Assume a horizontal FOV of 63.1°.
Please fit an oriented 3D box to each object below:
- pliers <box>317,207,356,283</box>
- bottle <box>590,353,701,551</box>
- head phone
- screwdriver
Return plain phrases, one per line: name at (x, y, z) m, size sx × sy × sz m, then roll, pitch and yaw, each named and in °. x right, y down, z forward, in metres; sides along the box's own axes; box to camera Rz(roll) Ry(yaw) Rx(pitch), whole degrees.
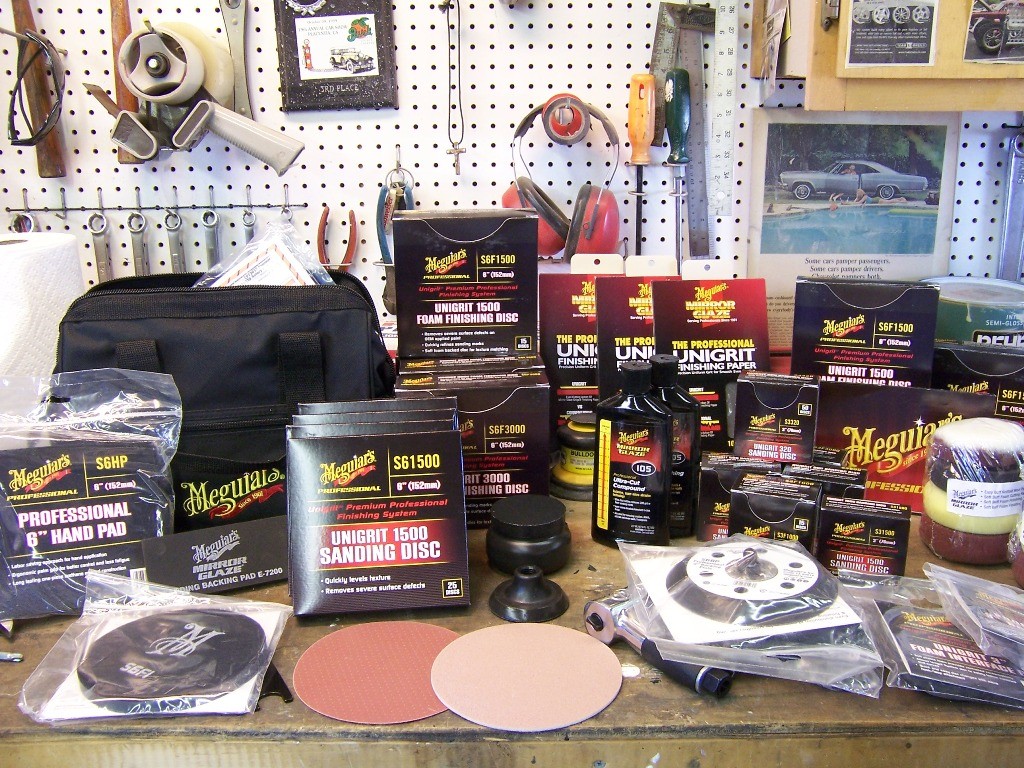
pliers at (-0.436, -0.353, 2.039) m, size 0.108 × 0.165 × 0.090 m, roll -5°, pitch 15°, yaw -8°
bottle at (0.226, 0.122, 1.461) m, size 0.151 × 0.367 × 0.135 m, roll -8°, pitch 15°, yaw -39°
head phone at (0.126, -0.431, 1.916) m, size 0.261 × 0.400 × 0.161 m, roll -1°, pitch 18°, yaw -1°
screwdriver at (0.343, -0.471, 1.938) m, size 0.165 × 0.473 × 0.090 m, roll -7°, pitch 18°, yaw -8°
